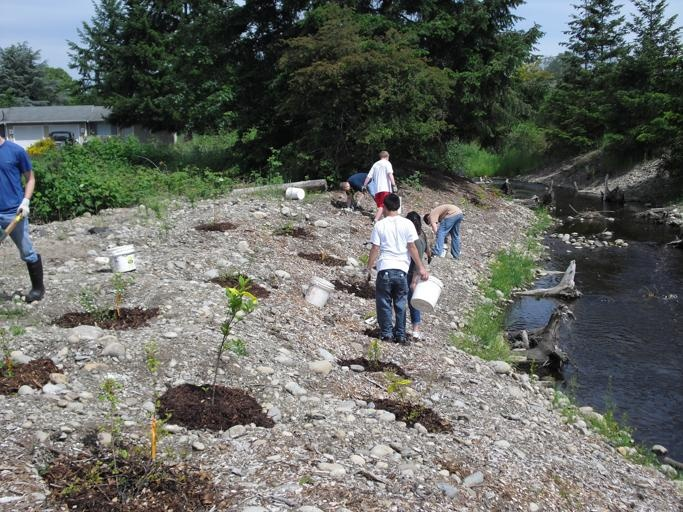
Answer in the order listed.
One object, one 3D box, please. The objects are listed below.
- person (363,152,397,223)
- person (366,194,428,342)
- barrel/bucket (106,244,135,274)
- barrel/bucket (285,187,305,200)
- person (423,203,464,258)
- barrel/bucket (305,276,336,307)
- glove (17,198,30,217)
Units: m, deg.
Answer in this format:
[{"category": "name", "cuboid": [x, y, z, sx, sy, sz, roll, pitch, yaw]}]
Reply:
[{"category": "person", "cuboid": [1.006, -1.876, 19.685, 0.934, 2.023, 0.844, 6, 8, 37]}, {"category": "person", "cuboid": [0.988, 0.277, 13.512, 1.012, 2.804, 0.505, 3, 11, 1]}, {"category": "barrel/bucket", "cuboid": [-4.389, 0.084, 14.411, 0.478, 0.511, 0.508, -2, -1, 0]}, {"category": "barrel/bucket", "cuboid": [-1.370, -1.829, 21.335, 0.551, 0.388, 0.376, 1, 12, -10]}, {"category": "person", "cuboid": [2.755, -0.688, 19.691, 1.051, 1.455, 1.025, 3, 3, -17]}, {"category": "barrel/bucket", "cuboid": [-0.457, 0.769, 14.959, 0.553, 0.539, 0.575, 24, -2, 1]}, {"category": "glove", "cuboid": [-5.639, -0.860, 12.899, 0.139, 0.324, 0.244, -2, -17, 45]}]
